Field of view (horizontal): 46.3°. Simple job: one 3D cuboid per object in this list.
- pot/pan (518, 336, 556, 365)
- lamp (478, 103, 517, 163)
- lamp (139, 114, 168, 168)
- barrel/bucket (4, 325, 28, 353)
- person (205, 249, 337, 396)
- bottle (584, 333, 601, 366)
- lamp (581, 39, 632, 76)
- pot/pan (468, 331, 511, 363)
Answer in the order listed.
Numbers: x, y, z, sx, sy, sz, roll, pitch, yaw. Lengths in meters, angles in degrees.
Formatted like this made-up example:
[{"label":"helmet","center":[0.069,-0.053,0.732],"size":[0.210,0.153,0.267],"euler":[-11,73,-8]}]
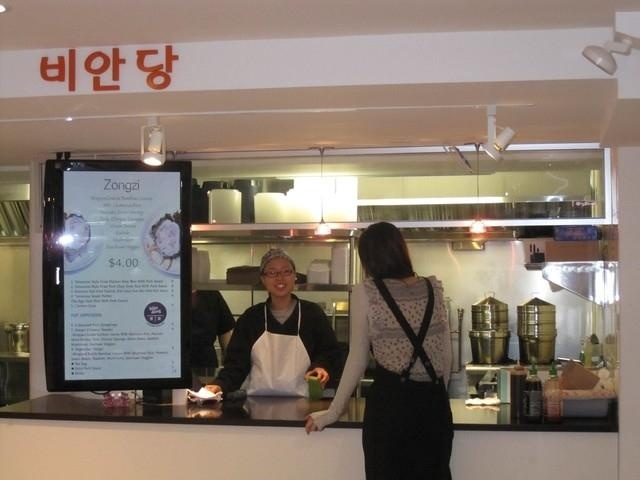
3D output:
[{"label":"pot/pan","center":[1.757,0.936,6.198],"size":[0.270,0.291,0.295],"euler":[3,-10,-16]},{"label":"lamp","center":[1.119,-0.632,4.676],"size":[0.190,0.339,0.486],"euler":[-4,-7,15]},{"label":"lamp","center":[-1.008,-0.615,4.531],"size":[0.124,0.267,0.122],"euler":[5,15,-6]},{"label":"barrel/bucket","center":[-2.925,0.951,7.247],"size":[0.250,0.295,0.258],"euler":[0,-6,0]},{"label":"person","center":[-0.304,0.662,5.503],"size":[0.939,1.233,0.857],"euler":[-2,-19,4]},{"label":"bottle","center":[1.946,0.787,5.330],"size":[0.116,0.215,0.356],"euler":[-5,-7,20]},{"label":"lamp","center":[1.554,-0.982,4.030],"size":[0.252,0.179,0.169],"euler":[-6,-7,23]},{"label":"pot/pan","center":[1.431,0.895,6.298],"size":[0.293,0.234,0.273],"euler":[-7,-10,38]}]
